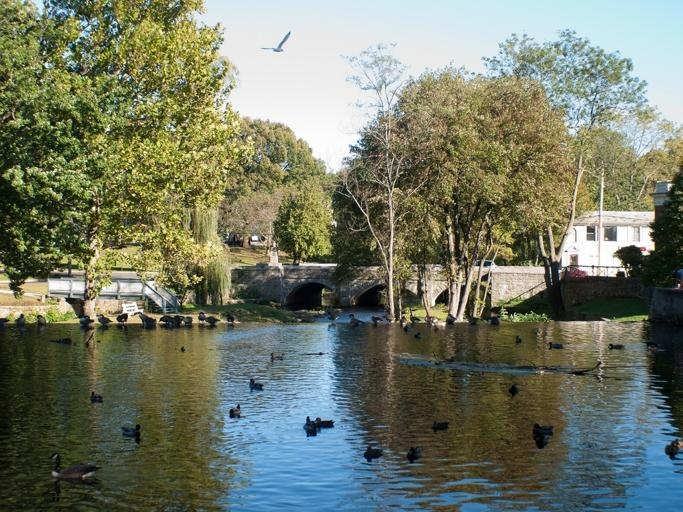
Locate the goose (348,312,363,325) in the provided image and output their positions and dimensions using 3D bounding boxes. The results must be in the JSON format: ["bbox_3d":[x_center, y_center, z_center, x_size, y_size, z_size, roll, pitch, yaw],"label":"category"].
[{"bbox_3d":[1.249,5.821,75.872,0.880,0.895,1.270,-32,-23,22],"label":"goose"}]

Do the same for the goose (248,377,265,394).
[{"bbox_3d":[-4.048,6.121,38.862,0.393,0.512,1.016,0,2,-12],"label":"goose"}]

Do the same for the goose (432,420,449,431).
[{"bbox_3d":[3.987,6.747,32.697,0.849,0.298,0.573,-7,11,-43],"label":"goose"}]

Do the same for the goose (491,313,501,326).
[{"bbox_3d":[12.174,5.108,64.770,0.694,0.845,0.922,-1,-8,16],"label":"goose"}]

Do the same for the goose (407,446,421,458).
[{"bbox_3d":[2.688,7.258,30.121,0.524,0.386,0.357,-1,9,-5],"label":"goose"}]

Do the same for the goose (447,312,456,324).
[{"bbox_3d":[8.834,5.105,65.950,0.458,0.608,0.817,20,13,-10],"label":"goose"}]

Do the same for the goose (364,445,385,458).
[{"bbox_3d":[1.173,7.309,30.298,0.686,0.349,0.544,1,9,5],"label":"goose"}]

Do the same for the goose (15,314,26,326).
[{"bbox_3d":[-22.948,4.556,58.344,0.548,0.841,1.201,-5,10,-27],"label":"goose"}]

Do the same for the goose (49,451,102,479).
[{"bbox_3d":[-9.494,7.595,29.226,2.117,1.171,0.694,2,-15,0],"label":"goose"}]

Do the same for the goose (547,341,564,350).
[{"bbox_3d":[12.812,5.359,49.206,0.373,0.445,1.189,13,2,-8],"label":"goose"}]

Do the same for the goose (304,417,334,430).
[{"bbox_3d":[-0.921,6.770,33.003,0.833,0.282,0.583,8,-10,-42],"label":"goose"}]

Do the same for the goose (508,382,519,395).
[{"bbox_3d":[7.847,6.144,37.490,0.376,0.422,0.149,-1,-1,-15],"label":"goose"}]

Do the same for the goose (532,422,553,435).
[{"bbox_3d":[7.859,6.803,31.867,0.733,0.423,0.586,2,9,9],"label":"goose"}]
